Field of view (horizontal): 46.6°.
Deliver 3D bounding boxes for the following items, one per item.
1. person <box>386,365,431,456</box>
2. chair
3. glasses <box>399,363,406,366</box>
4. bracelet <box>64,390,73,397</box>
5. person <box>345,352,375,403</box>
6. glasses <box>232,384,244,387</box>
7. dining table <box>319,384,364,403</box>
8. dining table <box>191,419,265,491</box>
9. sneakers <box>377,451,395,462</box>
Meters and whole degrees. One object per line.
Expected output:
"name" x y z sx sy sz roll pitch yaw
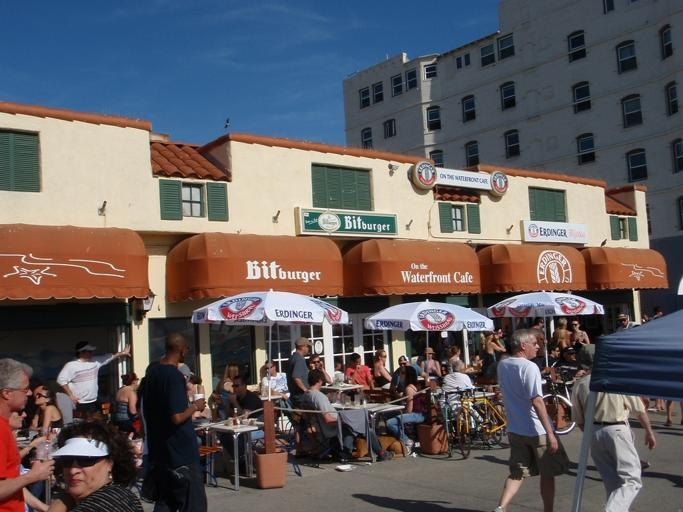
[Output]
"person" 1.347 3.143 16.901 1.016 1.898 0.729 -2 6 15
"chair" -0.238 3.454 16.098 1.522 0.954 1.491 1 -5 4
"glasses" 1.388 2.419 17.895 0.118 0.058 0.122 -1 -1 19
"bracelet" -5.396 2.690 15.661 0.076 0.103 0.336 38 -2 -9
"person" 0.506 3.091 20.932 0.666 0.978 0.907 -3 1 -20
"glasses" -2.096 2.592 16.036 0.215 0.102 0.114 -5 -7 16
"dining table" -0.026 3.108 18.078 0.611 0.441 0.884 -7 -9 42
"dining table" -2.190 3.762 14.969 1.159 0.853 1.108 -11 -5 -9
"sneakers" 0.875 3.963 15.805 0.140 0.162 0.394 0 2 44
